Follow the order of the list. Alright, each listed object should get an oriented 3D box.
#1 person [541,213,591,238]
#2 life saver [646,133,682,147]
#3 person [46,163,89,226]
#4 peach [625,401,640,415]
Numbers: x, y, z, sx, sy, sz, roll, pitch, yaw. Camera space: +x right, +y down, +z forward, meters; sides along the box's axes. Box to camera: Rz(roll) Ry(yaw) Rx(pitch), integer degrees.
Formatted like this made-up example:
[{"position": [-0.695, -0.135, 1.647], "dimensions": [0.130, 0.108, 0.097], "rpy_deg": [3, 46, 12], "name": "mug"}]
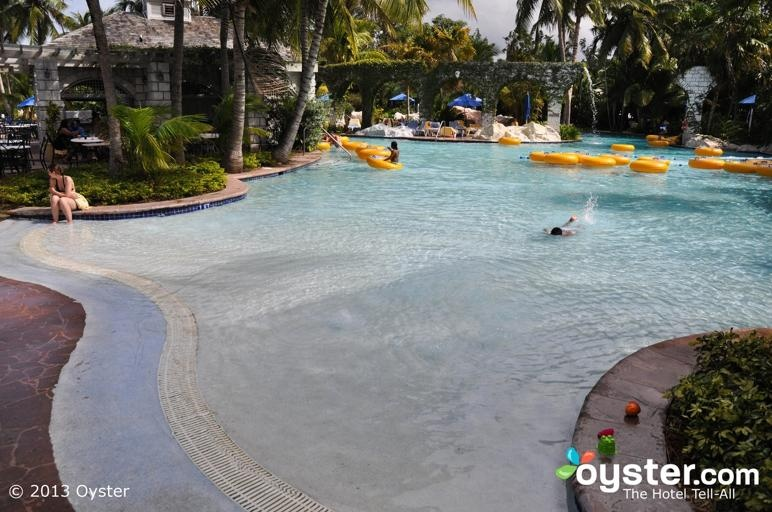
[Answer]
[{"position": [4.067, -0.603, 11.472], "dimensions": [0.519, 0.237, 1.075], "rpy_deg": [5, 22, 41], "name": "person"}, {"position": [17.375, -7.212, 31.621], "dimensions": [1.734, 0.434, 1.720], "rpy_deg": [3, 13, 21], "name": "life saver"}, {"position": [-6.761, -1.314, 10.792], "dimensions": [0.720, 1.186, 0.533], "rpy_deg": [-2, 12, -27], "name": "person"}, {"position": [2.184, 1.352, 4.536], "dimensions": [0.119, 0.113, 0.116], "rpy_deg": [-8, 6, 6], "name": "peach"}]
